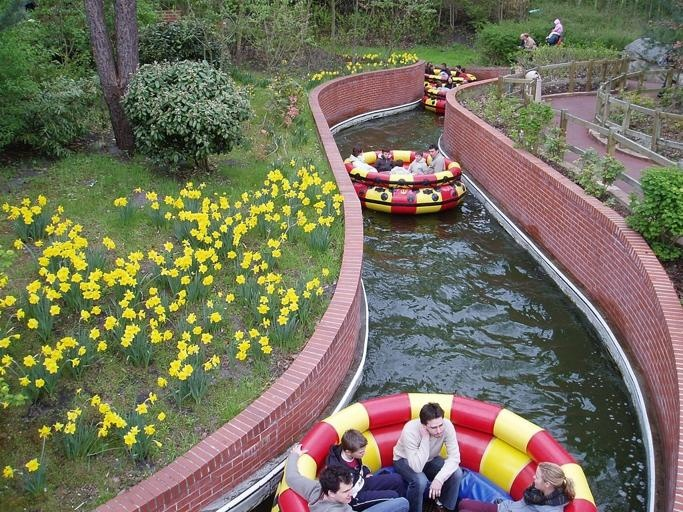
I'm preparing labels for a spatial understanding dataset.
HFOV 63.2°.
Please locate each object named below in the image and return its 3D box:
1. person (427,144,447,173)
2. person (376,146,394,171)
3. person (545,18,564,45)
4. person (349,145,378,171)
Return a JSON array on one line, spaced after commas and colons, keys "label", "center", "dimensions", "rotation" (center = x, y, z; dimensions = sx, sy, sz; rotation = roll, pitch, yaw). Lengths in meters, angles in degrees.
[{"label": "person", "center": [2.296, -2.277, 13.335], "dimensions": [0.409, 0.463, 0.903], "rotation": [4, 36, 7]}, {"label": "person", "center": [1.049, -2.361, 13.716], "dimensions": [0.452, 0.548, 0.778], "rotation": [2, 35, 4]}, {"label": "person", "center": [8.377, -8.769, 21.833], "dimensions": [0.480, 0.932, 1.404], "rotation": [12, 37, 20]}, {"label": "person", "center": [0.475, -2.308, 13.417], "dimensions": [0.563, 0.513, 1.227], "rotation": [-5, 36, -6]}]
